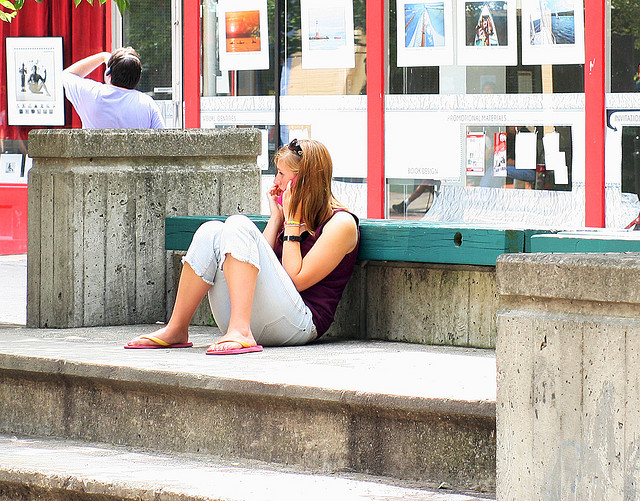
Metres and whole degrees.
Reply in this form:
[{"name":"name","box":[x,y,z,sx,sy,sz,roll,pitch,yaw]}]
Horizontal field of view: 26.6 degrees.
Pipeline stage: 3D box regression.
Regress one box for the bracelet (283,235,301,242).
[{"name":"bracelet","box":[-0.155,-0.072,7.503,0.088,0.037,0.055,0,5,3]}]

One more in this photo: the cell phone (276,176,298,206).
[{"name":"cell phone","box":[-0.148,-0.325,7.558,0.037,0.165,0.081,23,-8,-22]}]

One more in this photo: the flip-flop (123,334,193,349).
[{"name":"flip-flop","box":[-0.866,0.516,7.329,0.315,0.082,0.131,4,-7,-12]}]

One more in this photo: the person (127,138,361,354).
[{"name":"person","box":[-0.351,-0.054,7.534,1.127,1.353,0.886,11,-12,-38]}]

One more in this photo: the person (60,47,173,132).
[{"name":"person","box":[-1.338,-1.066,8.893,0.673,0.565,1.255,-1,5,-11]}]

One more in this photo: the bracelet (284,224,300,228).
[{"name":"bracelet","box":[-0.153,-0.144,7.507,0.077,0.011,0.022,0,5,8]}]
